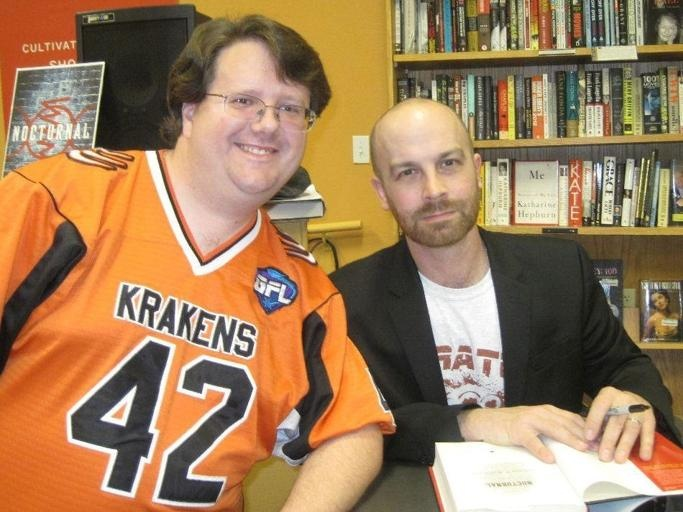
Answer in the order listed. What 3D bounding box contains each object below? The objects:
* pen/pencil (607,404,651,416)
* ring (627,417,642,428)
[{"bbox_3d":[0.734,0.394,1.548,0.066,0.014,0.022,-11,-14,6],"label":"pen/pencil"},{"bbox_3d":[0.740,0.417,1.521,0.020,0.015,0.021,-1,15,0],"label":"ring"}]
